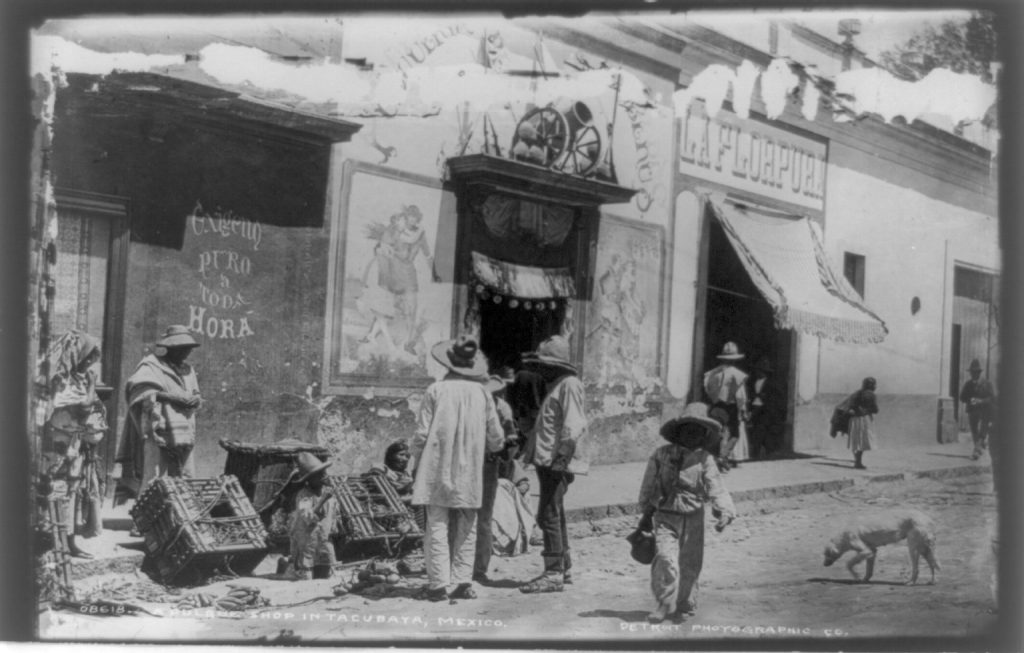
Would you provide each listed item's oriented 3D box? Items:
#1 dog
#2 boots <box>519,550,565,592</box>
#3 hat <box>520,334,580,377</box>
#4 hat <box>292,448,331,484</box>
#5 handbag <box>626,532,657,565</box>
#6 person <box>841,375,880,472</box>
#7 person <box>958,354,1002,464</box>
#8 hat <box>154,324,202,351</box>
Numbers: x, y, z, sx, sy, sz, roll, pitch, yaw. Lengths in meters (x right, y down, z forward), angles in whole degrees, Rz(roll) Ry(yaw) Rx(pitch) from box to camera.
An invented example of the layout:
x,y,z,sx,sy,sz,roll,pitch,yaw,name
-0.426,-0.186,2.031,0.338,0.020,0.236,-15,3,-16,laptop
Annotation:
x,y,z,sx,sy,sz,roll,pitch,yaw,name
4.548,2.701,18.406,1.446,0.907,0.801,0,-7,3,dog
0.407,2.893,17.461,0.451,0.400,0.188,-1,-5,1,boots
0.440,0.327,17.740,0.629,0.290,0.473,9,-2,13,hat
-2.315,1.610,17.286,0.363,0.152,0.313,-23,11,29,hat
1.512,2.496,16.956,0.346,0.396,0.360,-1,-11,6,handbag
4.914,1.339,20.775,0.307,1.244,0.525,3,-7,-24,person
6.401,1.126,20.606,0.445,1.333,1.188,-2,-7,16,person
-3.781,0.139,17.084,0.345,0.129,0.300,-14,-17,37,hat
